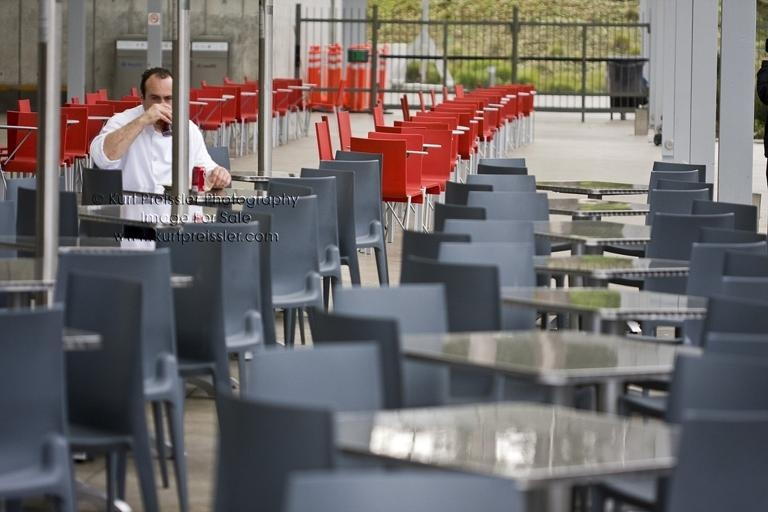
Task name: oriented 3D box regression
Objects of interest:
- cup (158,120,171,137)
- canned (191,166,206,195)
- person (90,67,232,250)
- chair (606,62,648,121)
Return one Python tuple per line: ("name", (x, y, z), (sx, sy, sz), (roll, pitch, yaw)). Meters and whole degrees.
("cup", (-1.432, -0.823, 7.754), (0.073, 0.096, 0.098), (1, 6, -13))
("canned", (-1.174, -0.481, 7.481), (0.071, 0.150, 0.067), (1, 6, -11))
("person", (-1.364, -0.801, 7.680), (0.808, 0.811, 1.031), (-3, 8, -37))
("chair", (5.171, -3.707, 25.937), (0.838, 1.371, 0.922), (-2, 7, -6))
